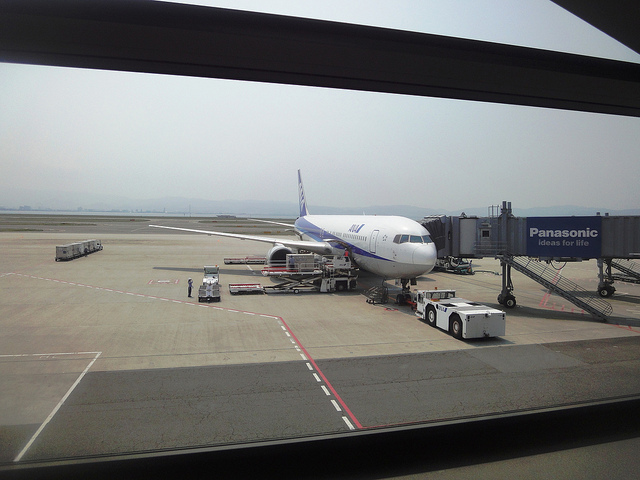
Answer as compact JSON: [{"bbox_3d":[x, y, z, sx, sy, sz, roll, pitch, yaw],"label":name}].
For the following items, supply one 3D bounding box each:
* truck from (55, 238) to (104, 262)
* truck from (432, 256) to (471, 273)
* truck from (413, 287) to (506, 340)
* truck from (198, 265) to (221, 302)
[{"bbox_3d":[-19.206,0.797,34.831,1.684,1.319,5.550,4,10,-1],"label":"truck"},{"bbox_3d":[9.559,1.835,32.590,2.478,1.283,3.484,0,5,-2],"label":"truck"},{"bbox_3d":[4.721,2.572,15.598,1.497,0.938,2.791,0,6,-19],"label":"truck"},{"bbox_3d":[-5.184,2.216,20.797,0.875,1.222,2.316,-1,0,-8],"label":"truck"}]
